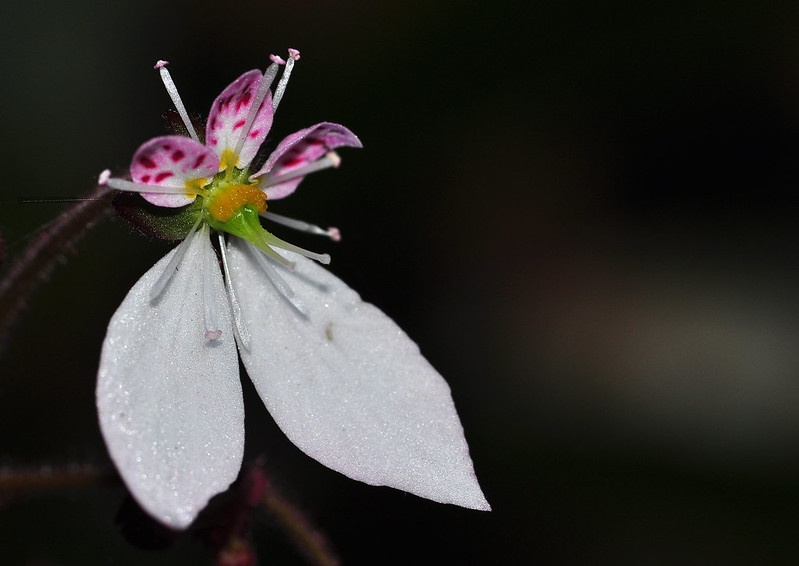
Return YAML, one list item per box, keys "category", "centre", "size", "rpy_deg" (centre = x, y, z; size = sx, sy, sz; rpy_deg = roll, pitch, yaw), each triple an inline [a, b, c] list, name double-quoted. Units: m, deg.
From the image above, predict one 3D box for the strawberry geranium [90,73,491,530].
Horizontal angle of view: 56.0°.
- category: "strawberry geranium"
  centre: [-0.118, 0.008, 0.861]
  size: [0.417, 0.464, 0.295]
  rpy_deg: [2, 16, -20]
